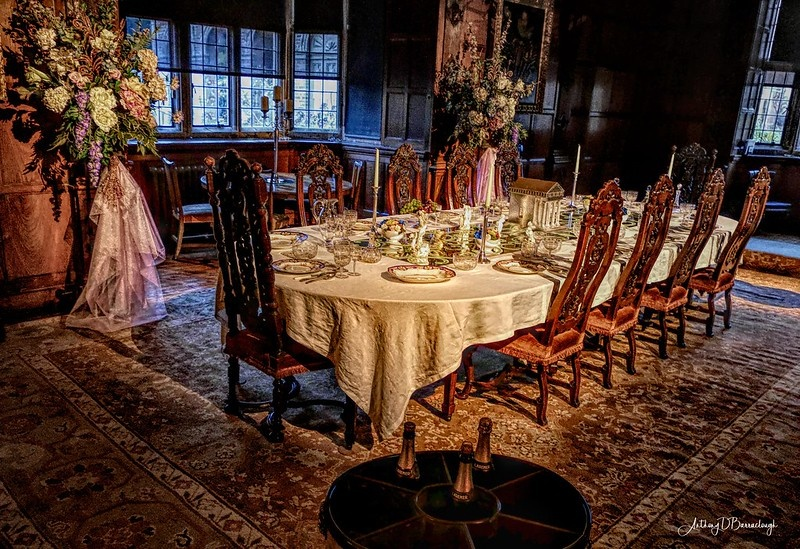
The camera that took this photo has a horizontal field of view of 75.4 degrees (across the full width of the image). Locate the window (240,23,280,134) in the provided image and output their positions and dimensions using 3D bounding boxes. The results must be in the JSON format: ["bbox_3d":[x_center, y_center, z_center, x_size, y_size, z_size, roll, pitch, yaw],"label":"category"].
[{"bbox_3d":[-2.061,-2.865,7.653,0.741,1.410,0.144,-16,25,-39],"label":"window"}]

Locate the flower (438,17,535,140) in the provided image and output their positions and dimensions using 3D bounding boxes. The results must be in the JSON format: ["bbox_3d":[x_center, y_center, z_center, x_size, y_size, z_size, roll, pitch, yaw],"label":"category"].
[{"bbox_3d":[1.082,-2.382,6.528,0.867,1.425,1.102,15,23,37],"label":"flower"}]

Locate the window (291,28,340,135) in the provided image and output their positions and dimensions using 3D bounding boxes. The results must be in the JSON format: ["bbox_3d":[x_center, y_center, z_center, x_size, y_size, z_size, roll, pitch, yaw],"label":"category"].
[{"bbox_3d":[-1.273,-2.926,7.901,0.751,1.417,0.232,-3,19,-9],"label":"window"}]

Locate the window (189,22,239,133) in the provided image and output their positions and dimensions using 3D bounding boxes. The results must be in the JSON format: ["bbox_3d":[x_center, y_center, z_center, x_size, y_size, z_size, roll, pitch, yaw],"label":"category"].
[{"bbox_3d":[-2.645,-2.766,7.262,0.199,1.381,0.700,13,23,35],"label":"window"}]
